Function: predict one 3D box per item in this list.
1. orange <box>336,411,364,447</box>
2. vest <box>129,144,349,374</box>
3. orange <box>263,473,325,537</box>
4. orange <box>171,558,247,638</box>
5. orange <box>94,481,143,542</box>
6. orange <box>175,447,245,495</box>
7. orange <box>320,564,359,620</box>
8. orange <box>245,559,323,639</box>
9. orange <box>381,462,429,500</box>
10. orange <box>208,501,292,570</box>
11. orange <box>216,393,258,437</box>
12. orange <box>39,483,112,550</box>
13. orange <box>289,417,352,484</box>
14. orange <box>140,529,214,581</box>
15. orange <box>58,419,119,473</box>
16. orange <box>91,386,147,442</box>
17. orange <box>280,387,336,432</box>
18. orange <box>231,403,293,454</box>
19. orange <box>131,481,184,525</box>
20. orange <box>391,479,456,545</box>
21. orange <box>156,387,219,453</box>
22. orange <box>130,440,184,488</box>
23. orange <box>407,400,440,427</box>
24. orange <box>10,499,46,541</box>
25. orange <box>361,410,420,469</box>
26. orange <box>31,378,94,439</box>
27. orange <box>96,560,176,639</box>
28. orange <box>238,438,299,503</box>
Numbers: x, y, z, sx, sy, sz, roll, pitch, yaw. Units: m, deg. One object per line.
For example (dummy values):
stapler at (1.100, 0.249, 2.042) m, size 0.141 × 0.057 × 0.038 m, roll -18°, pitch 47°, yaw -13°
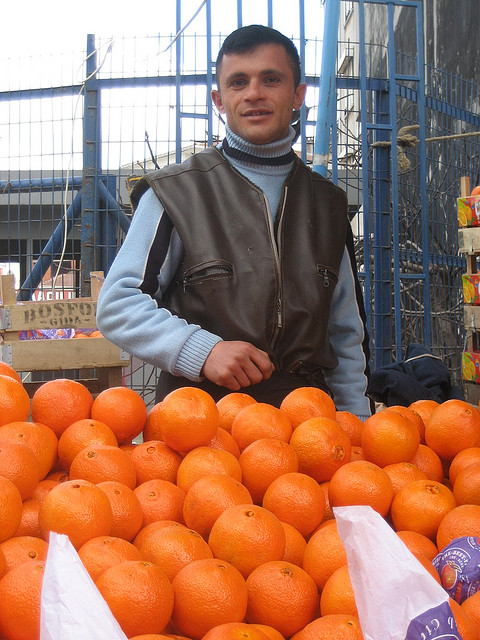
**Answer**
orange at (0.242, 0.240, 1.475) m, size 0.061 × 0.091 × 0.067 m, roll -1°, pitch 12°, yaw 30°
vest at (-0.006, -0.174, 1.914) m, size 0.626 × 0.751 × 0.355 m, roll -1°, pitch 4°, yaw -29°
orange at (0.087, 0.298, 1.073) m, size 0.082 × 0.122 × 0.095 m, roll -1°, pitch 7°, yaw -5°
orange at (-0.040, 0.332, 0.761) m, size 0.076 × 0.107 × 0.077 m, roll 6°, pitch 6°, yaw 37°
orange at (-0.174, 0.284, 0.951) m, size 0.069 × 0.102 × 0.075 m, roll -3°, pitch -16°, yaw 1°
orange at (-0.058, 0.250, 1.114) m, size 0.073 × 0.092 × 0.079 m, roll -2°, pitch -2°, yaw 1°
orange at (0.122, 0.353, 0.809) m, size 0.038 × 0.065 × 0.114 m, roll 0°, pitch 6°, yaw 0°
orange at (0.052, 0.350, 0.826) m, size 0.074 × 0.107 × 0.081 m, roll 6°, pitch -2°, yaw -11°
orange at (0.299, 0.297, 1.159) m, size 0.051 × 0.061 × 0.052 m, roll -1°, pitch -13°, yaw -34°
orange at (0.002, 0.315, 0.918) m, size 0.083 × 0.100 × 0.096 m, roll 7°, pitch 26°, yaw -9°
orange at (-0.012, 0.203, 1.418) m, size 0.066 × 0.099 × 0.077 m, roll 2°, pitch 7°, yaw 14°
orange at (-0.236, 0.277, 0.902) m, size 0.104 × 0.069 × 0.089 m, roll -1°, pitch 5°, yaw -17°
orange at (0.138, 0.236, 1.208) m, size 0.101 × 0.146 × 0.113 m, roll 7°, pitch 10°, yaw 1°
orange at (-0.090, 0.316, 0.865) m, size 0.058 × 0.072 × 0.063 m, roll 6°, pitch -12°, yaw 1°
orange at (-0.296, 0.225, 1.223) m, size 0.088 × 0.126 × 0.095 m, roll 6°, pitch 2°, yaw -19°
orange at (-0.248, 0.186, 1.355) m, size 0.097 × 0.123 × 0.126 m, roll -7°, pitch -3°, yaw -2°
orange at (0.136, 0.173, 1.364) m, size 0.079 × 0.115 × 0.089 m, roll 2°, pitch 8°, yaw 18°
orange at (0.036, 0.208, 1.256) m, size 0.083 × 0.126 × 0.096 m, roll 2°, pitch 1°, yaw 5°
orange at (-0.131, 0.294, 1.025) m, size 0.056 × 0.069 × 0.061 m, roll -3°, pitch -3°, yaw -5°
orange at (0.294, 0.308, 1.038) m, size 0.081 × 0.115 × 0.092 m, roll -2°, pitch 16°, yaw 1°
orange at (-0.096, 0.190, 1.204) m, size 0.102 × 0.145 × 0.118 m, roll -9°, pitch 8°, yaw 11°
orange at (-0.157, 0.265, 1.169) m, size 0.064 × 0.094 × 0.070 m, roll 1°, pitch 1°, yaw -3°
orange at (0.457, 0.231, 1.573) m, size 0.047 × 0.069 × 0.051 m, roll -3°, pitch 4°, yaw -4°
orange at (-0.328, 0.313, 0.986) m, size 0.050 × 0.076 × 0.056 m, roll 2°, pitch -8°, yaw -6°
orange at (0.293, 0.225, 1.251) m, size 0.088 × 0.129 × 0.100 m, roll 0°, pitch 1°, yaw 3°
orange at (-0.373, 0.163, 1.321) m, size 0.101 × 0.142 × 0.105 m, roll -1°, pitch 8°, yaw -30°
orange at (-0.120, 0.321, 0.729) m, size 0.087 × 0.065 × 0.066 m, roll -1°, pitch 5°, yaw -15°
orange at (0.041, 0.254, 1.129) m, size 0.095 × 0.140 × 0.103 m, roll 1°, pitch 2°, yaw -3°
